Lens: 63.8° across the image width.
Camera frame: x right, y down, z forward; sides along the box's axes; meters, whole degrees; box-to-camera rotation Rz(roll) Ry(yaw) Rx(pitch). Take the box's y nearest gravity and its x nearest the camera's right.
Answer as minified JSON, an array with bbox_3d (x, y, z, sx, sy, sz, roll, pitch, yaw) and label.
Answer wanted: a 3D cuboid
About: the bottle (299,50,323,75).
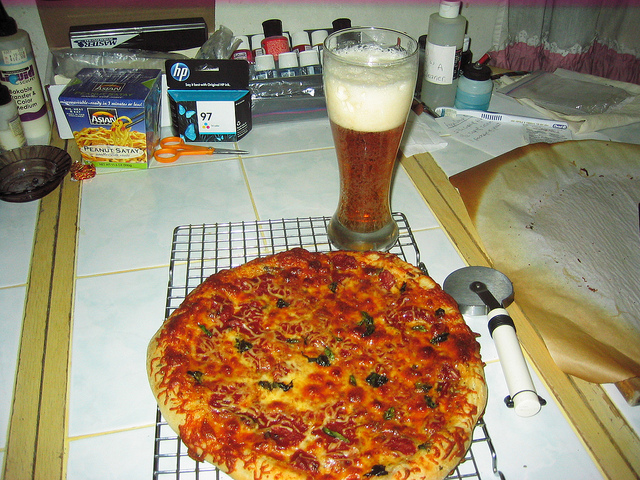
[{"bbox_3d":[-0.016,-0.527,1.540,0.087,0.074,0.082,-3,24,11],"label":"bottle"}]

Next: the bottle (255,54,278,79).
[{"bbox_3d":[-0.163,-0.514,1.524,0.074,0.076,0.069,-9,26,-7],"label":"bottle"}]

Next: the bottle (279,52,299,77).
[{"bbox_3d":[-0.091,-0.516,1.502,0.076,0.075,0.070,-3,27,-2],"label":"bottle"}]

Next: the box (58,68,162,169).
[{"bbox_3d":[-0.488,-0.301,1.413,0.278,0.252,0.251,4,49,-3],"label":"box"}]

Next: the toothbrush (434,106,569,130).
[{"bbox_3d":[0.548,-0.375,1.570,0.346,0.025,0.045,8,45,11],"label":"toothbrush"}]

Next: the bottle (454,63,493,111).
[{"bbox_3d":[0.486,-0.472,1.612,0.110,0.113,0.105,9,34,26],"label":"bottle"}]

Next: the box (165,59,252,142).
[{"bbox_3d":[-0.304,-0.385,1.389,0.275,0.225,0.081,-3,46,-6],"label":"box"}]

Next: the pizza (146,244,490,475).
[{"bbox_3d":[-0.008,0.198,0.909,0.580,0.153,0.430,6,38,8],"label":"pizza"}]

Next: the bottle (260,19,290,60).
[{"bbox_3d":[-0.144,-0.628,1.600,0.122,0.107,0.115,-13,24,-17],"label":"bottle"}]

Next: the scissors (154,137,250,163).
[{"bbox_3d":[-0.345,-0.242,1.408,0.200,0.014,0.099,3,30,-7],"label":"scissors"}]

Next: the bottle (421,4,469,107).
[{"bbox_3d":[0.411,-0.571,1.571,0.184,0.303,0.102,-28,47,-28],"label":"bottle"}]
